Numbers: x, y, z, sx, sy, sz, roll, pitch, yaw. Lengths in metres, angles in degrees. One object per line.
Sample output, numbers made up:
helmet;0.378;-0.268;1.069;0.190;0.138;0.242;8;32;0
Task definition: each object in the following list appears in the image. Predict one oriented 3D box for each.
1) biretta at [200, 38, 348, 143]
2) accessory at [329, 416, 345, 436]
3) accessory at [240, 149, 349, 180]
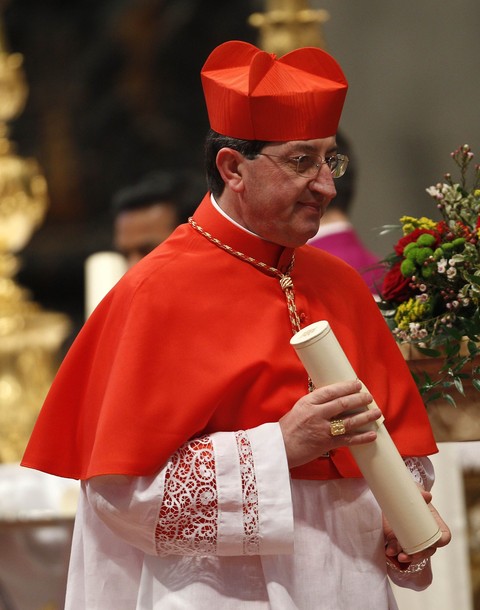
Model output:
biretta;0.071;-0.426;1.813;0.332;0.147;0.283;3;7;1
accessory;0.177;0.221;1.525;0.035;0.027;0.027;-4;29;-1
accessory;0.104;-0.306;1.706;0.121;0.030;0.117;11;0;42
